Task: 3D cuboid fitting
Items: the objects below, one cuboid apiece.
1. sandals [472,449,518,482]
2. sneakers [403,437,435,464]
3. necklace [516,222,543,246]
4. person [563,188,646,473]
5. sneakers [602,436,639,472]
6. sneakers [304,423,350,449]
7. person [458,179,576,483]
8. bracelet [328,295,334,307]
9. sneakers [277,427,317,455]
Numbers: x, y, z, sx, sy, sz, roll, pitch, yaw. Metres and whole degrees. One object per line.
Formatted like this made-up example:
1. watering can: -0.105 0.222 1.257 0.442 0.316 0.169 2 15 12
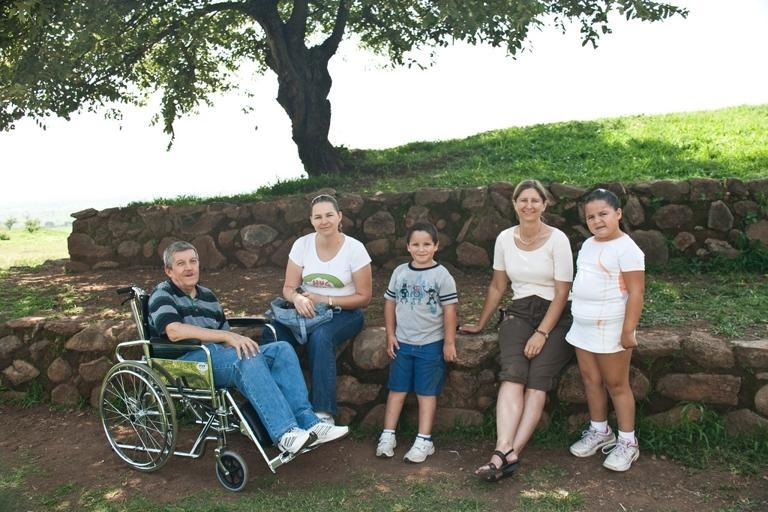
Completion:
1. sandals: 1.168 2.156 7.004 0.219 0.232 0.569 -7 -9 38
2. sneakers: 0.411 2.104 7.445 0.420 0.241 0.151 -10 9 -28
3. necklace: 1.606 -0.224 7.557 0.214 0.269 0.141 1 21 9
4. person: 2.319 0.781 7.179 0.771 2.930 0.581 -9 10 -21
5. sneakers: 2.535 2.100 7.242 0.208 0.222 0.512 0 2 36
6. sneakers: -0.587 1.833 7.049 0.490 0.218 0.180 -11 3 -2
7. person: 1.458 0.715 7.416 0.854 3.008 1.259 2 12 41
8. bracelet: -0.616 0.518 7.759 0.095 0.091 0.068 2 -6 -6
9. sneakers: -0.888 1.899 6.939 0.453 0.211 0.178 -24 32 25
